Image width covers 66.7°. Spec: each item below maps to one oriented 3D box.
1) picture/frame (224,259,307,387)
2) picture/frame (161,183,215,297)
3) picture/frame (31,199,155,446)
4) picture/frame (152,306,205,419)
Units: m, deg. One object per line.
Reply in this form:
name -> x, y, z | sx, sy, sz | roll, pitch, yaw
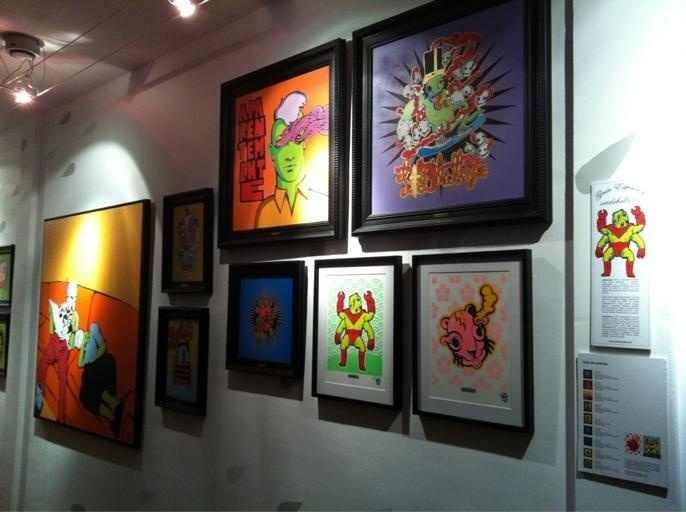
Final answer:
picture/frame -> -0.305, 0.281, 2.134 | 0.457, 0.595, 0.061 | -2, -6, 36
picture/frame -> -0.731, -0.064, 2.434 | 0.344, 0.484, 0.084 | -3, -7, 40
picture/frame -> -1.276, 0.384, 2.705 | 1.120, 1.382, 0.048 | -3, -6, 40
picture/frame -> -0.742, 0.494, 2.389 | 0.439, 0.663, 0.064 | -5, -8, 40
